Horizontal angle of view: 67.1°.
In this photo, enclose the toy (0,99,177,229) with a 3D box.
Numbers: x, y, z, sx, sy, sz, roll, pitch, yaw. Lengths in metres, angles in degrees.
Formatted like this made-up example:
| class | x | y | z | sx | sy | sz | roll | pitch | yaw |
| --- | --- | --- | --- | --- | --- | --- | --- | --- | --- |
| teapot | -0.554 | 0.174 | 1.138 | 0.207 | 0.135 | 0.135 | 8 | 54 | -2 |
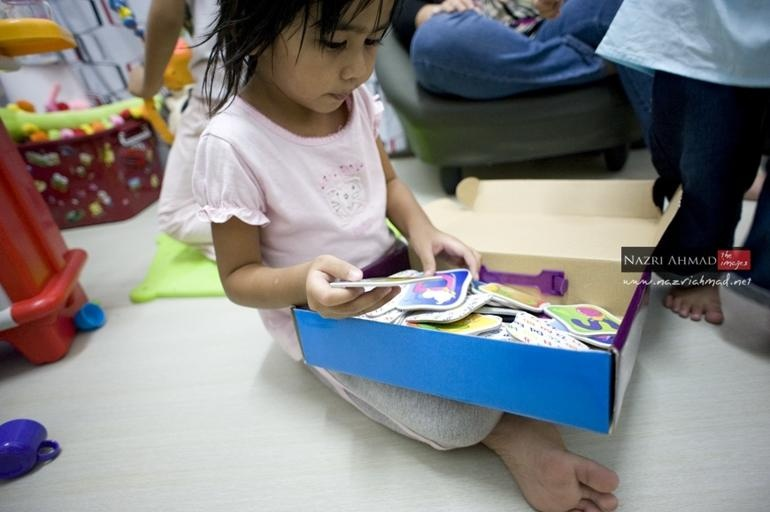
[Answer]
| class | x | y | z | sx | sy | sz | roll | pitch | yaw |
| --- | --- | --- | --- | --- | --- | --- | --- | --- | --- |
| toy | -1.096 | -0.342 | 2.168 | 0.431 | 0.363 | 0.492 | -20 | 15 | -38 |
